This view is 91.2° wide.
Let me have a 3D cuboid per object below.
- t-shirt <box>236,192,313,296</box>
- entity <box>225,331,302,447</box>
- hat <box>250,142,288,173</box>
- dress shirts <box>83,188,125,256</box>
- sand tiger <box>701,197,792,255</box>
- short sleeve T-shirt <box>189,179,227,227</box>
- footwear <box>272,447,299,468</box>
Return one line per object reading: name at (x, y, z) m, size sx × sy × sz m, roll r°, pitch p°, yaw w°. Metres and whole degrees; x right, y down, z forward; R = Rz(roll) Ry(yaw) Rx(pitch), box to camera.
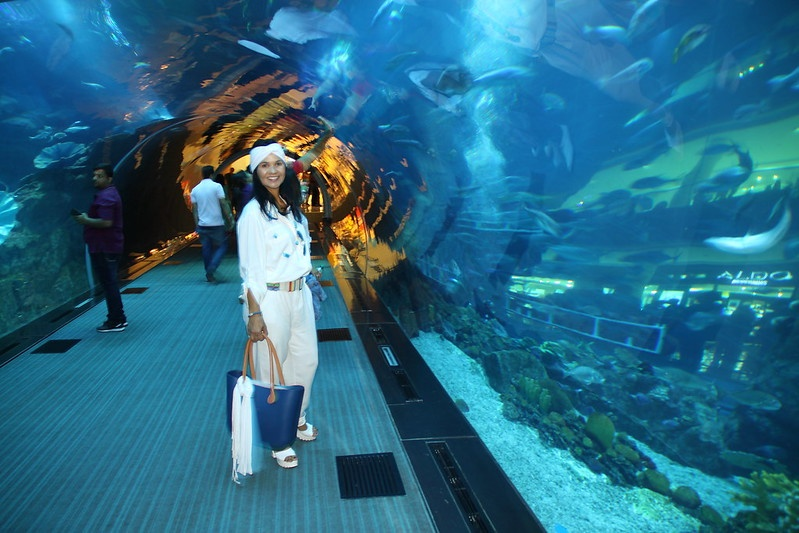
t-shirt at (-1.068, -0.133, 3.339) m, size 0.593 × 0.832 × 0.251 m, roll 2°, pitch 6°, yaw -20°
entity at (-1.123, 1.067, 3.193) m, size 0.511 × 0.928 × 0.444 m, roll 1°, pitch 7°, yaw -29°
hat at (-1.097, -0.901, 3.269) m, size 0.294 × 0.267 × 0.202 m, roll 2°, pitch 6°, yaw -16°
dress shirts at (-4.106, -0.629, 5.386) m, size 0.440 × 0.941 × 0.309 m, roll 2°, pitch 6°, yaw -23°
sand tiger at (2.190, -0.223, 2.469) m, size 0.044 × 0.304 × 0.383 m, roll 0°, pitch 7°, yaw -36°
short sleeve T-shirt at (-3.743, -1.221, 7.643) m, size 0.569 × 0.904 × 0.474 m, roll 2°, pitch 6°, yaw -23°
footwear at (-1.098, 1.754, 3.699) m, size 0.182 × 0.128 × 0.333 m, roll 6°, pitch -10°, yaw -36°
